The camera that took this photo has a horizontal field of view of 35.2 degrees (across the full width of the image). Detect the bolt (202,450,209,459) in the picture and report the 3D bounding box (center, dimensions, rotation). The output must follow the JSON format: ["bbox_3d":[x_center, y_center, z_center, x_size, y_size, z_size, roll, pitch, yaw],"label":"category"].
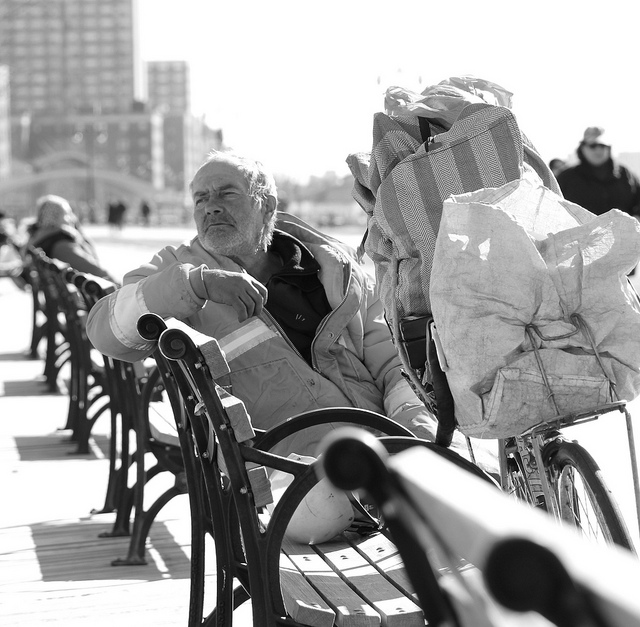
[{"bbox_3d":[-0.251,0.301,2.173,0.013,0.019,0.005,2,-1,7],"label":"bolt"}]

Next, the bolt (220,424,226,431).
[{"bbox_3d":[-0.196,0.222,1.976,0.007,0.010,0.003,5,-22,0],"label":"bolt"}]

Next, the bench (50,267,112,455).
[{"bbox_3d":[-1.244,0.273,5.157,0.340,0.540,0.981,-1,4,-12],"label":"bench"}]

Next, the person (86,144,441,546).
[{"bbox_3d":[-0.158,0.112,3.266,1.032,1.342,0.740,-11,-6,-20],"label":"person"}]

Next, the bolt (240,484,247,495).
[{"bbox_3d":[-0.154,0.345,1.979,0.011,0.011,0.003,-37,-50,23],"label":"bolt"}]

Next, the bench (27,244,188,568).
[{"bbox_3d":[-0.765,0.168,4.147,0.364,1.567,0.323,1,-39,-12],"label":"bench"}]

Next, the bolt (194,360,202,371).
[{"bbox_3d":[-0.244,0.100,1.988,0.006,0.011,0.017,-4,7,36],"label":"bolt"}]

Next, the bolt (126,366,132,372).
[{"bbox_3d":[-0.749,0.213,3.911,0.016,0.018,0.004,-2,-13,8],"label":"bolt"}]

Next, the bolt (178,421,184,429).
[{"bbox_3d":[-0.331,0.259,2.365,0.011,0.016,0.004,-2,-11,5],"label":"bolt"}]

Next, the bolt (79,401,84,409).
[{"bbox_3d":[-1.219,0.460,5.095,0.031,0.034,0.008,7,-2,-2],"label":"bolt"}]

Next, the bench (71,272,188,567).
[{"bbox_3d":[-0.687,0.418,3.594,0.364,0.575,0.994,-2,4,-12],"label":"bench"}]
